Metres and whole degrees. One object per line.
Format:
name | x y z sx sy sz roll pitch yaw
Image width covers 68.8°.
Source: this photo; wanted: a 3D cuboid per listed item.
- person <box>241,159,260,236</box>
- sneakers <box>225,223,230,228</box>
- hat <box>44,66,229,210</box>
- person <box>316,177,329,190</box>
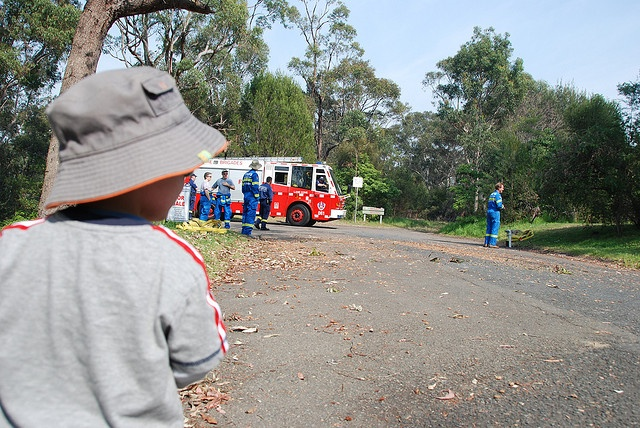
person | -2.102 -0.474 14.152 0.511 2.251 1.225 1 4 -9
sneakers | -3.489 0.444 17.477 0.108 0.189 0.187 -2 38 0
hat | -0.771 -0.270 1.937 0.614 0.356 0.554 -13 15 -11
person | 0.090 -1.484 23.508 0.494 0.736 0.301 6 -11 4
